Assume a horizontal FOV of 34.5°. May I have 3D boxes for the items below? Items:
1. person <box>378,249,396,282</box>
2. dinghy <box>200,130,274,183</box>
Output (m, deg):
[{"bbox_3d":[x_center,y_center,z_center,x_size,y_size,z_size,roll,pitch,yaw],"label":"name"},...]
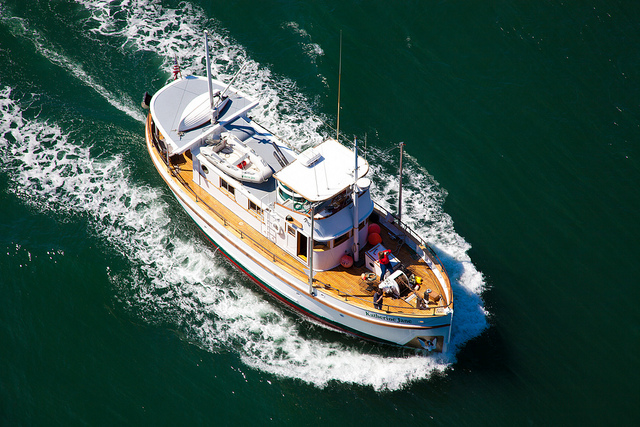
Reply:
[{"bbox_3d":[5.523,4.416,85.653,1.058,2.256,0.700,-41,42,-16],"label":"person"},{"bbox_3d":[-7.171,-4.638,88.539,6.156,1.996,3.586,39,57,21],"label":"dinghy"}]
